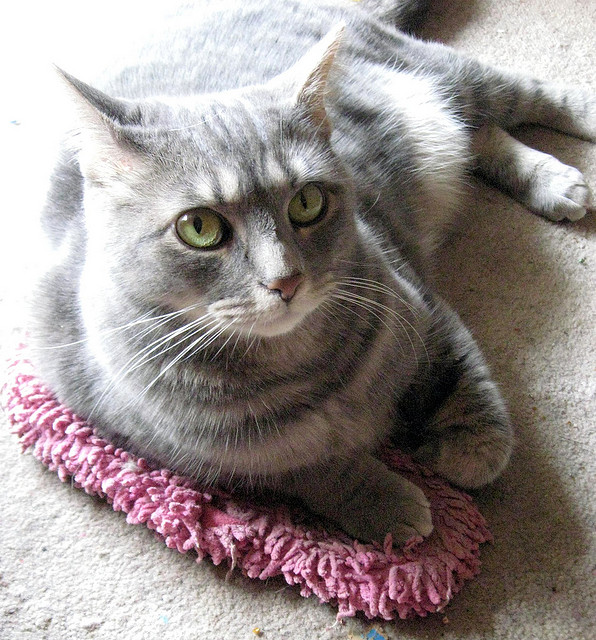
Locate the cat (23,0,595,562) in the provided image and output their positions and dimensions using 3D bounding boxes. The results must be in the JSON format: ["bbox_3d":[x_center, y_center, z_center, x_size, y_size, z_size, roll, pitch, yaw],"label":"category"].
[{"bbox_3d":[0.120,-0.164,1.668,1.118,0.650,1.293,-6,37,3],"label":"cat"}]
